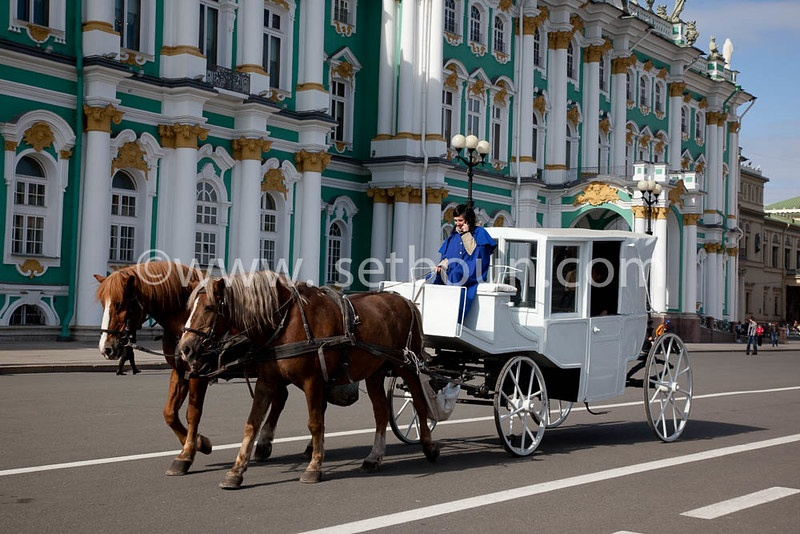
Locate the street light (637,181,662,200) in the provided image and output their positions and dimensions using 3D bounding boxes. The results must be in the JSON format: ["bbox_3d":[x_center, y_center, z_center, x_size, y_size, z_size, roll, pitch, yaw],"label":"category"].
[{"bbox_3d":[9.492,-2.943,36.256,0.312,0.556,1.111,-2,-5,22],"label":"street light"}]

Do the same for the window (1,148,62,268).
[{"bbox_3d":[-10.236,-1.631,26.453,1.464,3.050,0.486,2,-3,-43],"label":"window"}]

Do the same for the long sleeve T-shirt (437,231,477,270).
[{"bbox_3d":[0.849,-0.393,15.557,0.413,0.649,0.842,8,17,-19],"label":"long sleeve T-shirt"}]

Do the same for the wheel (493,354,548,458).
[{"bbox_3d":[1.927,2.175,15.085,0.429,1.593,1.490,0,-1,38],"label":"wheel"}]

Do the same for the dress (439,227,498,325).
[{"bbox_3d":[1.131,0.107,15.229,0.783,1.506,0.839,1,-3,-27],"label":"dress"}]

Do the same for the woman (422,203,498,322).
[{"bbox_3d":[0.864,-0.076,15.321,1.068,1.894,0.970,4,-3,-32],"label":"woman"}]

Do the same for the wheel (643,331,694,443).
[{"bbox_3d":[4.876,2.259,17.287,0.519,2.034,1.906,2,2,33],"label":"wheel"}]

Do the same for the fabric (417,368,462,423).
[{"bbox_3d":[0.618,1.973,14.999,0.411,0.782,1.085,9,13,33],"label":"fabric"}]
